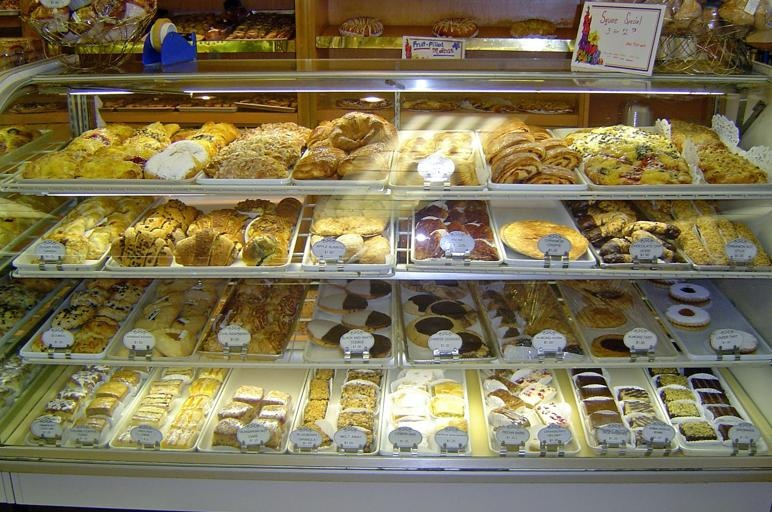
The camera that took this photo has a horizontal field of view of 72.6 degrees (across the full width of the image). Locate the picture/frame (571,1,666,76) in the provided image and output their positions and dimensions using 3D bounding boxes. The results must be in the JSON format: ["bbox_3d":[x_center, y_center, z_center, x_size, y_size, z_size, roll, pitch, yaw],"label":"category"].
[{"bbox_3d":[1.205,-1.113,2.706,0.641,0.329,0.062,13,14,21],"label":"picture/frame"}]
